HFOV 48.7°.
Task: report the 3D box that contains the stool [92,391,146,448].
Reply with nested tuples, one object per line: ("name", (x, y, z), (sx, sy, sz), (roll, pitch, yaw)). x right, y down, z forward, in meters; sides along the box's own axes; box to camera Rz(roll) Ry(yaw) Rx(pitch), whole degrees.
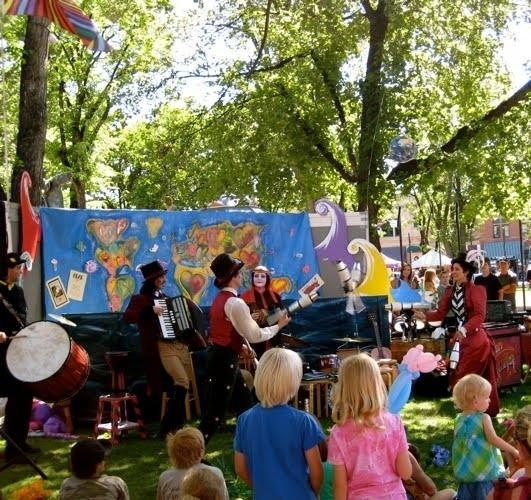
("stool", (-1.680, 1.878, 6.702), (0.574, 0.561, 0.582), (-5, -9, 30))

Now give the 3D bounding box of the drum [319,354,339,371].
("drum", (0.746, 1.271, 6.754), (0.177, 0.142, 0.187), (0, 1, 0))

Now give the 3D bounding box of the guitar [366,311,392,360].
("guitar", (1.500, 1.168, 7.770), (0.277, 0.697, 0.094), (-19, -19, 29))

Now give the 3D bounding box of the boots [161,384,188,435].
("boots", (-0.972, 1.672, 6.245), (0.284, 0.527, 0.325), (3, 4, -18))

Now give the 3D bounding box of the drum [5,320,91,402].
("drum", (-1.859, 0.947, 5.016), (0.647, 0.694, 0.275), (1, -7, -24))
